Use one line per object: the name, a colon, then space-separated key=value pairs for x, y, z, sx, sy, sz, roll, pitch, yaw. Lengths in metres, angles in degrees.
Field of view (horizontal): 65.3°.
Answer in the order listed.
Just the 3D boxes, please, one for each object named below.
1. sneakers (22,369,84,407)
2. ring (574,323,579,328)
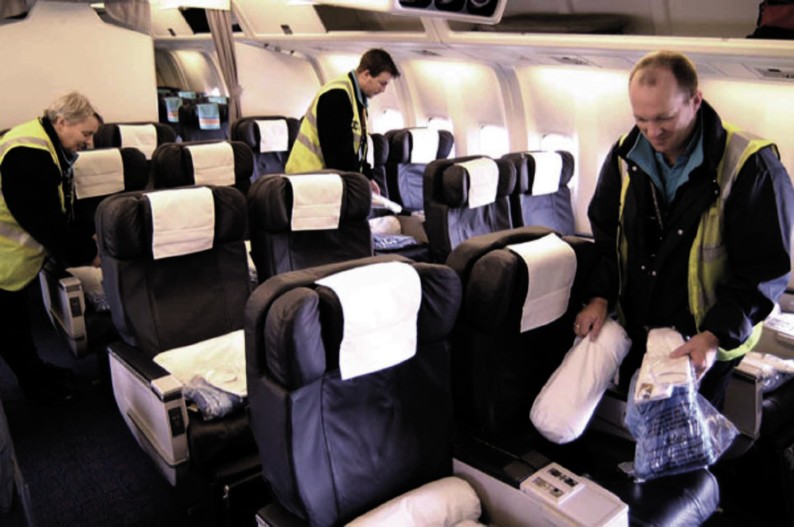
sneakers: x=-2.405 y=0.878 z=4.307 sx=0.134 sy=0.272 sz=0.399 roll=6 pitch=15 yaw=18
ring: x=0.852 y=0.294 z=2.935 sx=0.016 sy=0.008 sz=0.022 roll=-5 pitch=59 yaw=23
